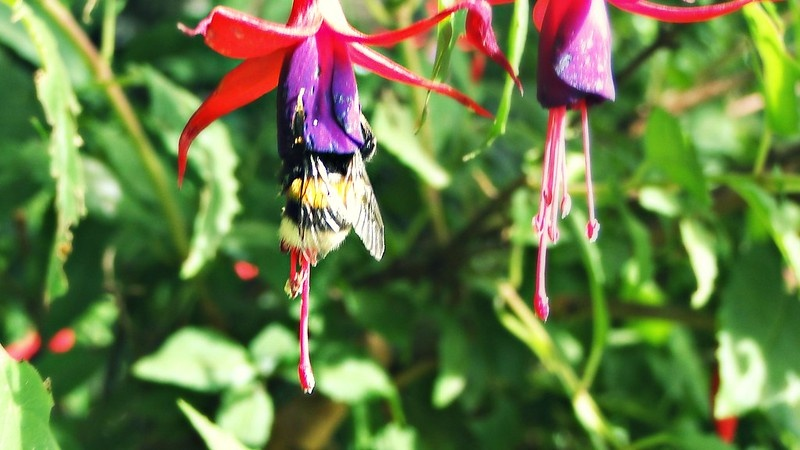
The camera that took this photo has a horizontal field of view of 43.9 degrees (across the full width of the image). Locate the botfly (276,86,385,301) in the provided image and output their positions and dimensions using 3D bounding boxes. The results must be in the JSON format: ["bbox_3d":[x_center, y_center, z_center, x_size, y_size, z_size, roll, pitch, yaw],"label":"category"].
[{"bbox_3d":[-0.112,-0.044,1.513,0.158,0.265,0.079,1,12,20],"label":"botfly"}]
